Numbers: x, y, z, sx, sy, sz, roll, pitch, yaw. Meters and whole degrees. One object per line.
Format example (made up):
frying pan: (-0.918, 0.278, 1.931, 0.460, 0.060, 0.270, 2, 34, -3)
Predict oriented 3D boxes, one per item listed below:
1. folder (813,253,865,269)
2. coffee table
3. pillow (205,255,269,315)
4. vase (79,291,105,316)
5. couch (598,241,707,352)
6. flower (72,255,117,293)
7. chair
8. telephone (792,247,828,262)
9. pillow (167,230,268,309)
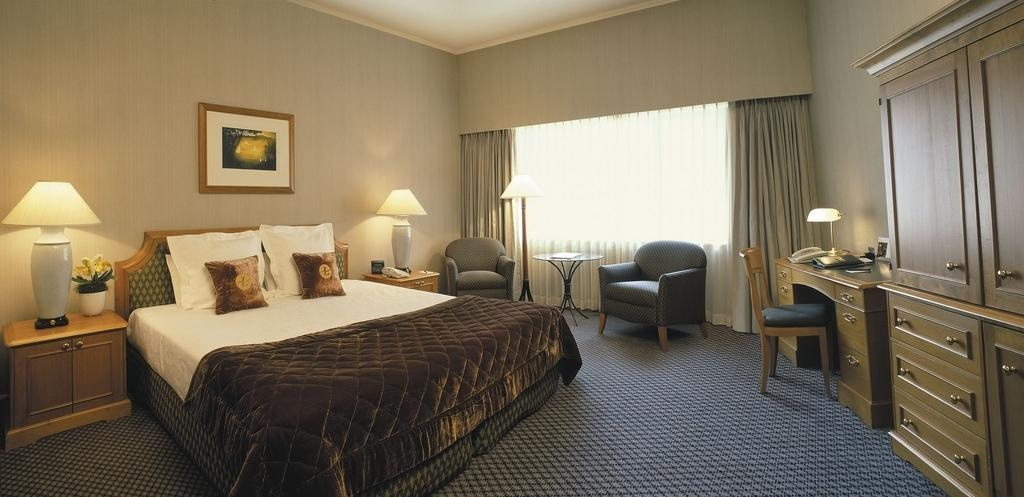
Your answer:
folder: (3.799, 0.150, 6.774, 0.365, 0.073, 0.250, -3, 8, -6)
coffee table: (0.855, 0.617, 8.988, 0.999, 0.889, 1.006, -10, 1, -44)
pillow: (-3.236, 0.444, 6.865, 0.709, 0.612, 0.212, -13, -7, -46)
vase: (-4.797, 0.633, 6.689, 0.310, 0.224, 0.264, 0, 2, -14)
couch: (1.992, 0.543, 8.174, 1.022, 1.194, 1.242, -10, 11, -39)
flower: (-4.784, 0.301, 6.822, 0.472, 0.416, 0.451, -2, -3, 20)
chair: (3.359, 0.825, 6.953, 1.104, 1.464, 1.095, -10, 7, -42)
telephone: (3.566, 0.091, 7.027, 0.286, 0.083, 0.201, -8, 3, 23)
pillow: (-3.562, 0.280, 6.977, 0.964, 0.801, 0.459, -4, -5, -34)
